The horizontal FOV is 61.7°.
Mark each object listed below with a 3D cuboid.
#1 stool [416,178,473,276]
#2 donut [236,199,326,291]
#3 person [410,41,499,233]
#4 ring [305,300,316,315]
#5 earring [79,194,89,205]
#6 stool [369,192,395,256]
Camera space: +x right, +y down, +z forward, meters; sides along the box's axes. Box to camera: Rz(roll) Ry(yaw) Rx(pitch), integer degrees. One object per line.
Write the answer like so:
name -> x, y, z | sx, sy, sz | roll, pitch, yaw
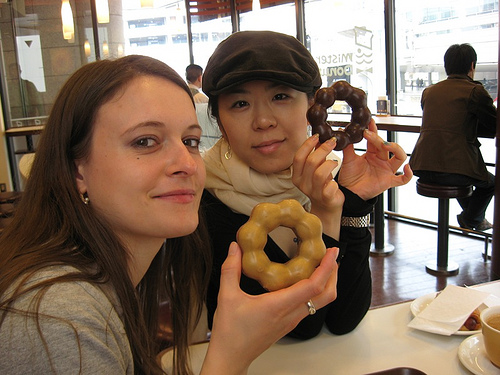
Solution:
stool -> 1.850, 0.390, 3.951 | 0.554, 0.963, 0.564 | -4, 15, 2
donut -> 0.098, 0.176, 1.262 | 0.248, 0.278, 0.105 | -9, -26, 0
person -> 1.853, -0.337, 3.839 | 0.712, 1.874, 1.098 | -2, 11, 22
ring -> 0.173, 0.344, 1.203 | 0.025, 0.037, 0.013 | -14, -13, -22
earring -> -0.455, 0.032, 1.153 | 0.012, 0.028, 0.011 | -36, -2, 4
stool -> 1.297, 0.343, 4.145 | 0.230, 0.647, 0.427 | -2, 11, 19
